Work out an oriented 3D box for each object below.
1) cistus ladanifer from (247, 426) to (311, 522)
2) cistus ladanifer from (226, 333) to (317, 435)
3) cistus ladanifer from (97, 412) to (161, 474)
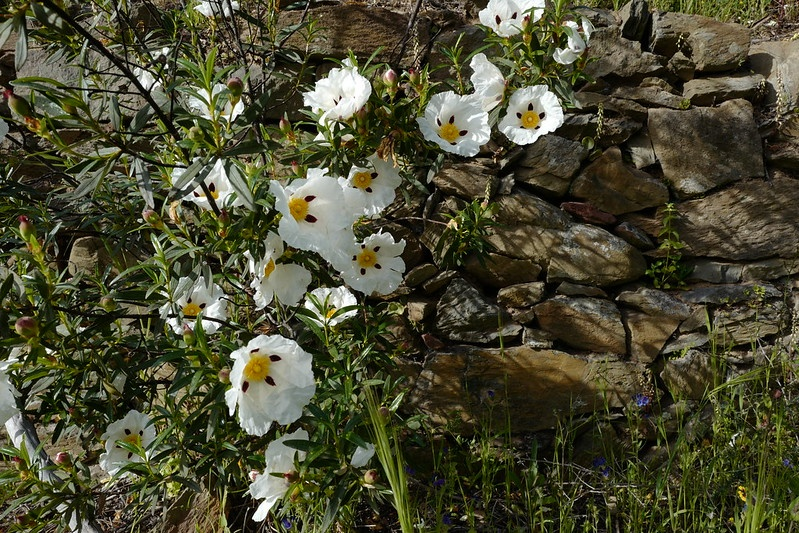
[{"bbox_3d":[-0.670,1.114,3.840,0.199,0.481,0.317,22,31,2],"label":"cistus ladanifer"},{"bbox_3d":[-0.652,0.588,3.512,0.444,0.505,0.231,8,9,-23],"label":"cistus ladanifer"},{"bbox_3d":[-1.493,0.995,3.908,0.278,0.316,0.279,1,38,-31],"label":"cistus ladanifer"}]
